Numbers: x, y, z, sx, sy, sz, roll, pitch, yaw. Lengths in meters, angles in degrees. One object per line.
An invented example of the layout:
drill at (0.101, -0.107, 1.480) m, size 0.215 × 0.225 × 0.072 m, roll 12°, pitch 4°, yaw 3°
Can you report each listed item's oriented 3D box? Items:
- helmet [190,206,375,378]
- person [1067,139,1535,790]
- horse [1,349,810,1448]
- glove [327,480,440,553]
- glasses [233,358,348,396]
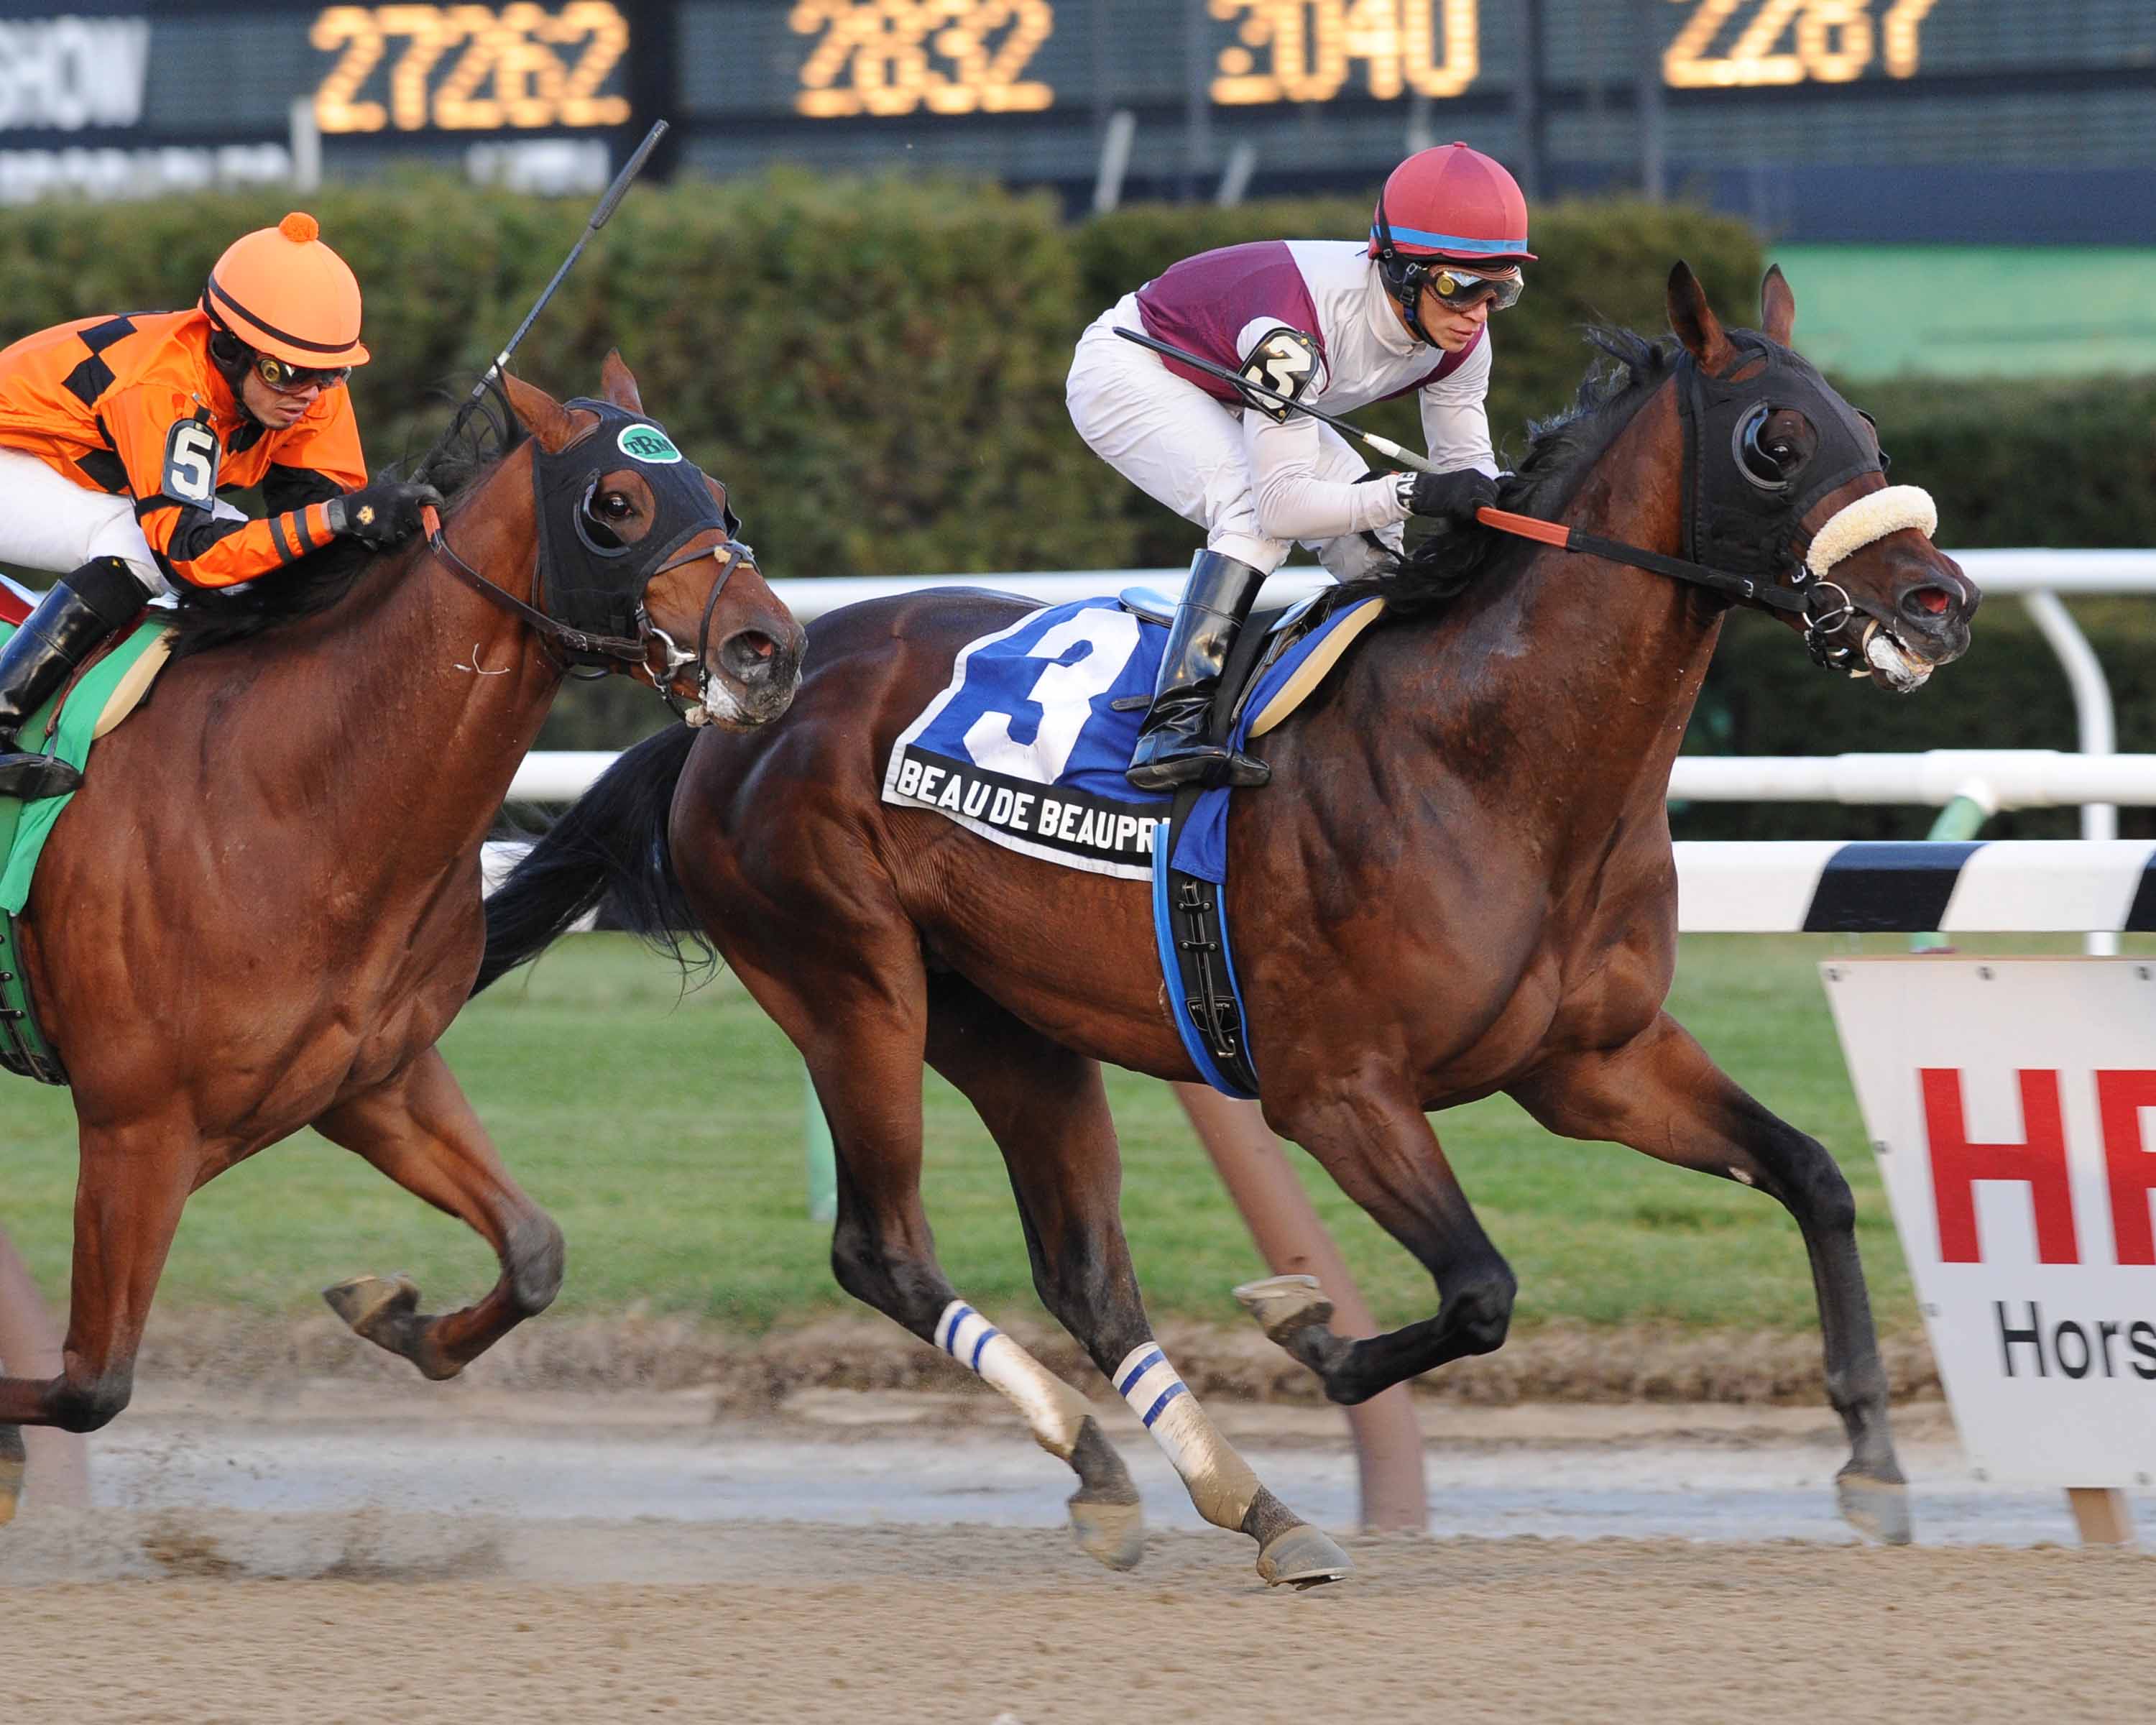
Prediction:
helmet at (-1.160, -0.860, 5.973) m, size 0.259 × 0.154 × 0.229 m, roll 41°, pitch 38°, yaw 24°
person at (0.310, -0.630, 6.227) m, size 0.678 × 0.914 × 0.807 m, roll -13°, pitch 22°, yaw -42°
horse at (-1.004, 0.054, 5.841) m, size 1.145 × 1.480 × 0.413 m, roll -2°, pitch 8°, yaw -4°
glove at (-0.999, -0.505, 5.851) m, size 0.125 × 0.050 × 0.085 m, roll 2°, pitch 16°, yaw 21°
glasses at (-1.152, -0.713, 5.981) m, size 0.092 × 0.024 × 0.071 m, roll 10°, pitch 4°, yaw 39°
